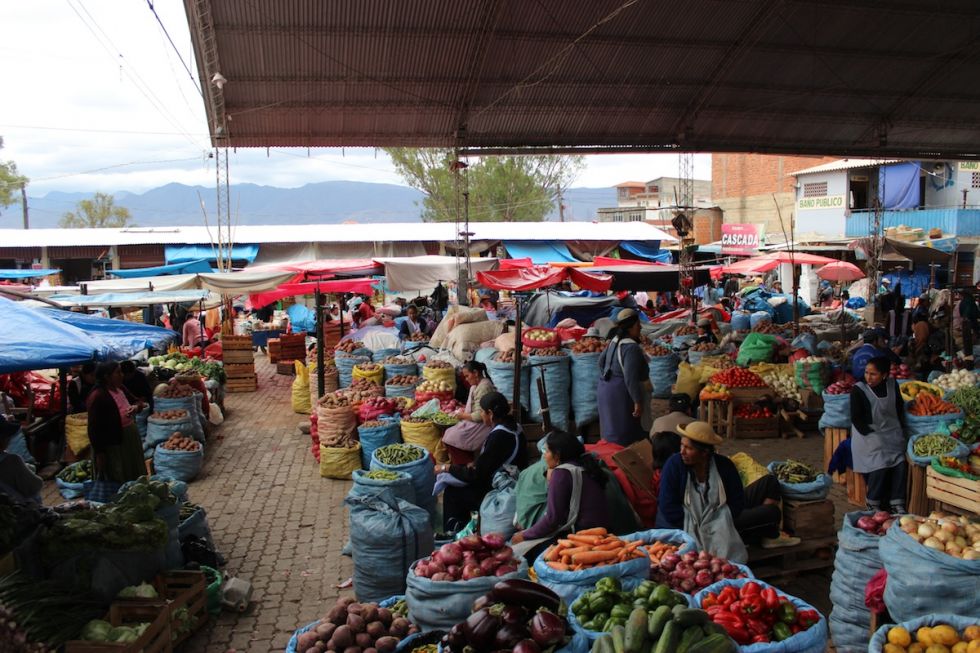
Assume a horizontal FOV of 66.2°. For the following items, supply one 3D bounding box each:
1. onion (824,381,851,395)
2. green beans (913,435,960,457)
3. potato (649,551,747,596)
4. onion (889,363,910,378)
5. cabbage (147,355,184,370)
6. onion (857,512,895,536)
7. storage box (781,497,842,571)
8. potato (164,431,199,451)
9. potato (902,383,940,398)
[{"bbox_3d":[4.784,0.858,10.345,0.268,0.089,0.309,-4,4,12],"label":"onion"},{"bbox_3d":[4.994,1.342,8.441,0.295,0.088,0.284,-2,4,12],"label":"green beans"},{"bbox_3d":[1.686,2.048,6.273,0.428,0.170,0.452,0,-1,-8],"label":"potato"},{"bbox_3d":[6.328,0.702,11.575,0.249,0.130,0.310,1,7,17],"label":"onion"},{"bbox_3d":[-6.514,0.722,15.080,0.463,0.154,0.441,0,2,9],"label":"cabbage"},{"bbox_3d":[3.621,1.843,7.081,0.237,0.088,0.205,-1,11,41],"label":"onion"},{"bbox_3d":[3.389,2.206,7.860,0.542,0.719,0.349,-4,11,2],"label":"storage box"},{"bbox_3d":[-4.639,1.746,11.332,0.353,0.136,0.334,3,-1,-1],"label":"potato"},{"bbox_3d":[5.318,0.775,9.352,0.239,0.089,0.294,-3,9,-26],"label":"potato"}]
